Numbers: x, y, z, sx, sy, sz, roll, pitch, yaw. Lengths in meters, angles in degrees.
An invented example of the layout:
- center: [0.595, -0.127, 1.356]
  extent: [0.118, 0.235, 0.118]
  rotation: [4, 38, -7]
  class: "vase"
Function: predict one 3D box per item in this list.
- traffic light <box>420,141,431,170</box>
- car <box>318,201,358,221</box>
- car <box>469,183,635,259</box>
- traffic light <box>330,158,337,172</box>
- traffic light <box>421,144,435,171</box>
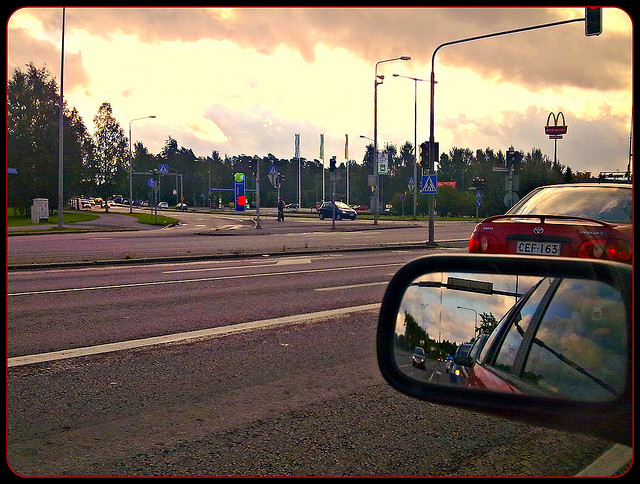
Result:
- center: [4.043, -3.326, 23.793]
  extent: [0.415, 1.007, 1.731]
  rotation: [1, 6, 9]
  class: "traffic light"
- center: [1.598, -2.761, 55.418]
  extent: [1.724, 1.446, 2.906]
  rotation: [-1, -1, -39]
  class: "car"
- center: [2.949, -0.253, 7.558]
  extent: [1.734, 0.895, 2.244]
  rotation: [0, 6, -4]
  class: "car"
- center: [0.739, -4.471, 35.934]
  extent: [0.250, 0.790, 0.493]
  rotation: [0, 6, -5]
  class: "traffic light"
- center: [4.093, -3.254, 23.562]
  extent: [0.498, 0.920, 1.155]
  rotation: [1, 6, 10]
  class: "traffic light"
